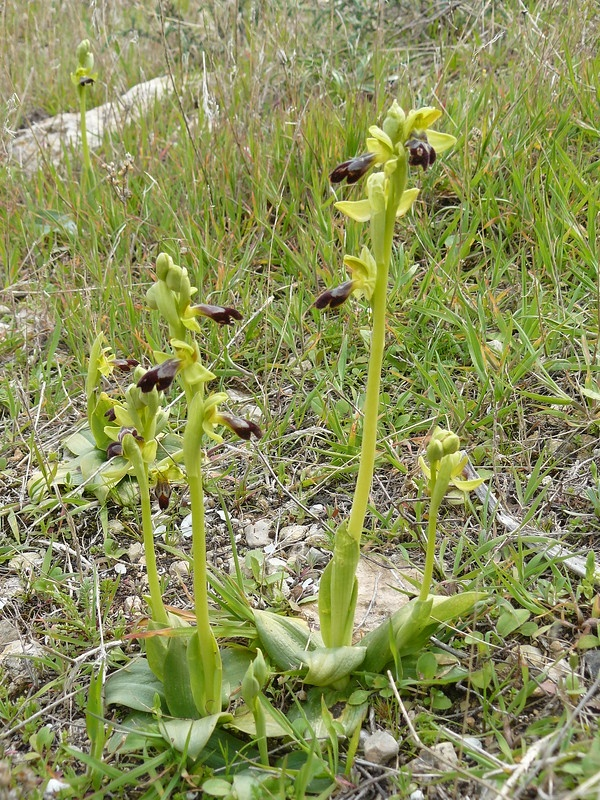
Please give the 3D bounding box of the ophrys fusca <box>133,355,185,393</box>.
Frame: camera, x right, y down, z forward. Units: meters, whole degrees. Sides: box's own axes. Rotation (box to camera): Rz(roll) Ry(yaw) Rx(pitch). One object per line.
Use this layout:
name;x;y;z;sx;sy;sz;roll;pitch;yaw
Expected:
ophrys fusca;-0.287;-0.048;1.617;0.058;0.021;0.086;-5;20;26

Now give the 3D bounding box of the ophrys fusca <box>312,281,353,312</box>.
ophrys fusca;0.069;-0.227;1.899;0.041;0.128;0.051;43;52;-6
